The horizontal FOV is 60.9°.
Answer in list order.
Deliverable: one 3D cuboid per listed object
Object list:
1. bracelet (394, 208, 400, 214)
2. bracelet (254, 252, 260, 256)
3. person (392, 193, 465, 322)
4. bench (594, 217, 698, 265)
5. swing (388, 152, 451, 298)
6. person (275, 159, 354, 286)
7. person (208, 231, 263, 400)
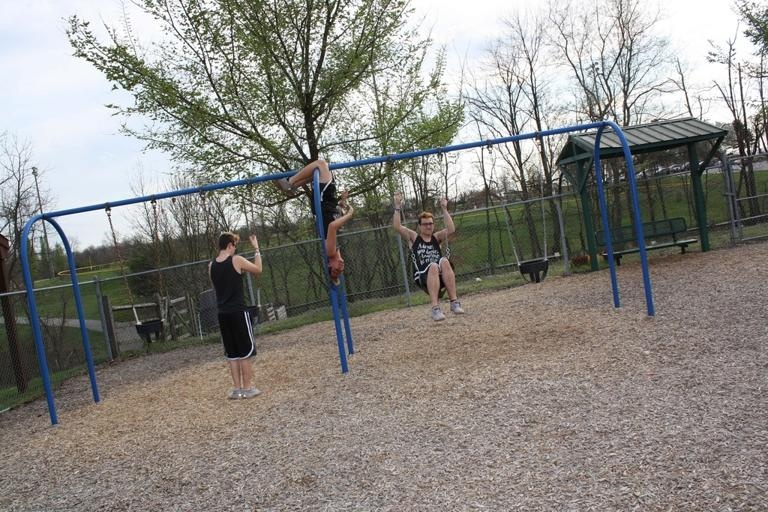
[{"bbox_3d":[0.194,-0.714,10.156,0.080,0.060,0.081,2,4,33],"label":"bracelet"},{"bbox_3d":[-1.833,-0.037,9.455,0.077,0.079,0.070,1,-1,-19],"label":"bracelet"},{"bbox_3d":[0.721,-0.048,10.186,1.000,1.877,1.112,-7,11,-19],"label":"person"},{"bbox_3d":[6.065,-0.335,15.236,2.001,0.706,0.679,-10,15,7],"label":"bench"},{"bbox_3d":[0.652,-0.404,10.501,0.948,2.248,0.701,2,-1,-2],"label":"swing"},{"bbox_3d":[-0.925,-0.557,9.902,0.914,1.854,0.929,-12,2,-3],"label":"person"},{"bbox_3d":[-2.135,0.845,9.529,0.819,2.363,0.727,-7,0,20],"label":"person"}]
